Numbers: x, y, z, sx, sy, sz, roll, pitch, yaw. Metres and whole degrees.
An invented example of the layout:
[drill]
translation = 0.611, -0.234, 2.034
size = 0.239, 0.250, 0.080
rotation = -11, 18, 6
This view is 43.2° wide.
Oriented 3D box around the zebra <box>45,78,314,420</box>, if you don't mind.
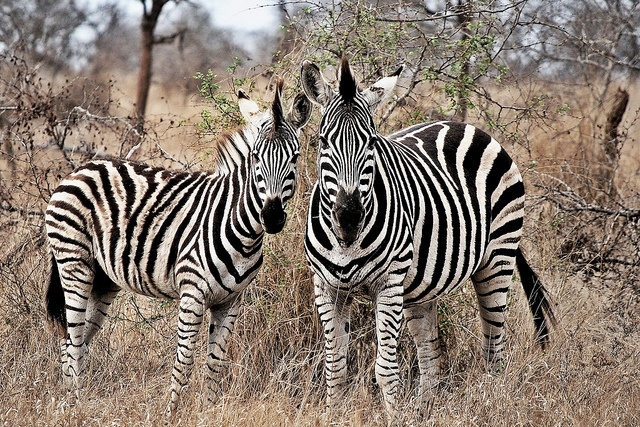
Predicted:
[zebra]
translation = -1.613, 0.509, 8.676
size = 3.735, 3.349, 1.256
rotation = 4, 8, 31
